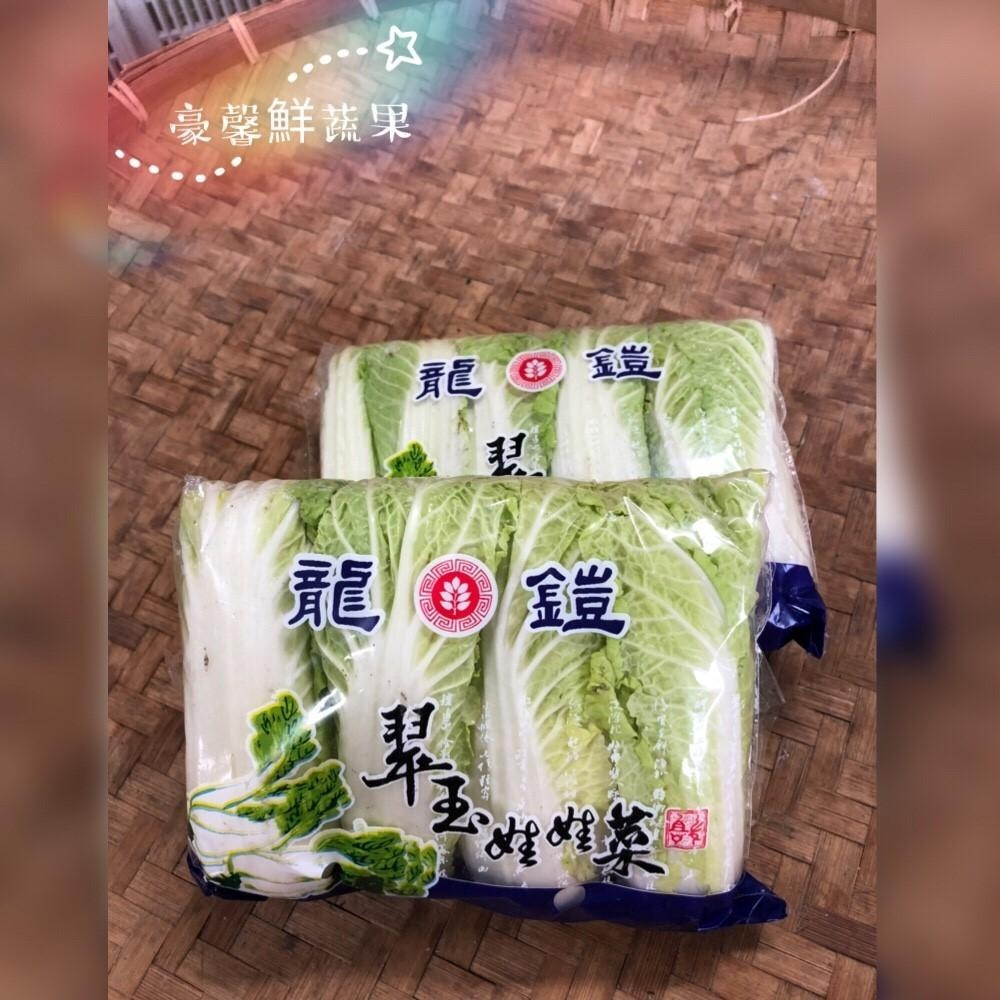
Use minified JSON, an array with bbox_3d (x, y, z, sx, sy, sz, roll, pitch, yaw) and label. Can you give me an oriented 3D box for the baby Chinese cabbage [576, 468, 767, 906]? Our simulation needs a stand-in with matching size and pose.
[{"bbox_3d":[0.227,0.263,1.404,0.254,0.171,0.579,4,75,3],"label":"baby Chinese cabbage"}]
